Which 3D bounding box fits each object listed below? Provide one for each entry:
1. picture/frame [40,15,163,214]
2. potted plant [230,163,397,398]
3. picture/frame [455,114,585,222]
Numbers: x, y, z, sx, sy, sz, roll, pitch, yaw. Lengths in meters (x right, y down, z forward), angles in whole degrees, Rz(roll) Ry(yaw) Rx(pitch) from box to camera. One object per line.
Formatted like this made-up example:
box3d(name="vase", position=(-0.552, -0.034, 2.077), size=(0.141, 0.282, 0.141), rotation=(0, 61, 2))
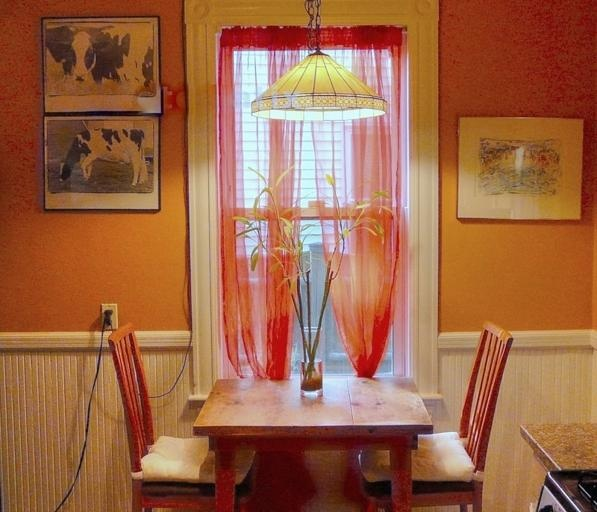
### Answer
box3d(name="picture/frame", position=(-0.949, -0.731, 3.503), size=(0.727, 1.234, 0.027), rotation=(1, 5, 4))
box3d(name="potted plant", position=(0.067, 0.085, 3.523), size=(0.851, 1.377, 0.439), rotation=(0, 8, 2))
box3d(name="picture/frame", position=(1.061, -0.449, 3.538), size=(0.435, 0.419, 0.011), rotation=(1, 0, -5))
